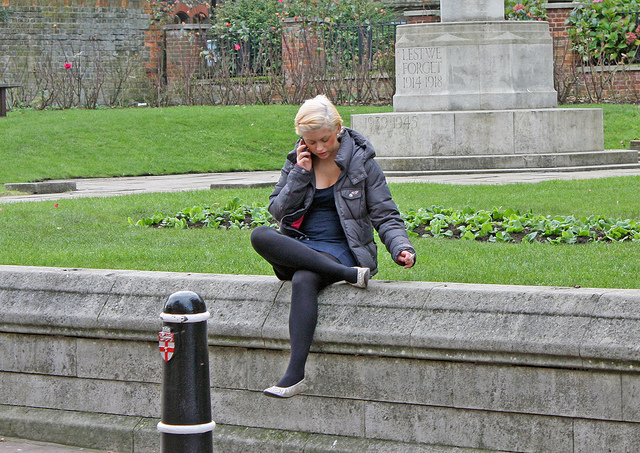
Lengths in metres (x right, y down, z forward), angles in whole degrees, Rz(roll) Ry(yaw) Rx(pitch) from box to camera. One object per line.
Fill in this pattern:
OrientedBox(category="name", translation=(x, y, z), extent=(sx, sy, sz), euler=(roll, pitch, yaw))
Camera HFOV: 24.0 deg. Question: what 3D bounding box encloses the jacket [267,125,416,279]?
OrientedBox(category="jacket", translation=(0.345, -0.287, 19.146), extent=(2.092, 1.983, 1.096), euler=(-1, 1, 26))
